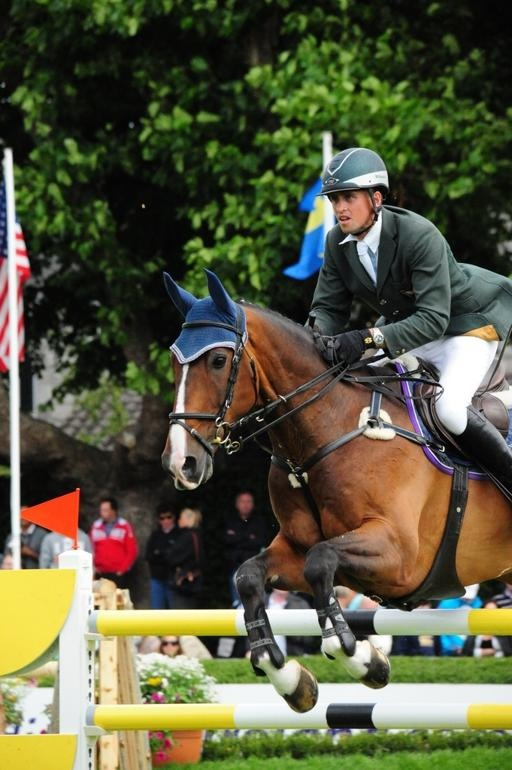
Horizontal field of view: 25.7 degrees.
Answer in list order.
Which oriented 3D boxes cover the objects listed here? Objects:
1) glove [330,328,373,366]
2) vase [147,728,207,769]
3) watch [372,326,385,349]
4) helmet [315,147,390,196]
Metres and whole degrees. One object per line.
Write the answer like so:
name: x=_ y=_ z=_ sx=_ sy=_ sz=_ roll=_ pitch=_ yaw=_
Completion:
glove: x=0.376 y=-0.146 z=4.270 sx=0.102 sy=0.076 sz=0.171 roll=-51 pitch=24 yaw=-23
vase: x=-0.396 y=1.879 z=5.792 sx=0.233 sy=0.170 sz=0.137 roll=3 pitch=-4 yaw=-28
watch: x=0.465 y=-0.168 z=4.219 sx=0.051 sy=0.067 sz=0.071 roll=-13 pitch=14 yaw=-3
helmet: x=0.390 y=-0.827 z=4.345 sx=0.255 sy=0.170 sz=0.131 roll=-2 pitch=3 yaw=3
